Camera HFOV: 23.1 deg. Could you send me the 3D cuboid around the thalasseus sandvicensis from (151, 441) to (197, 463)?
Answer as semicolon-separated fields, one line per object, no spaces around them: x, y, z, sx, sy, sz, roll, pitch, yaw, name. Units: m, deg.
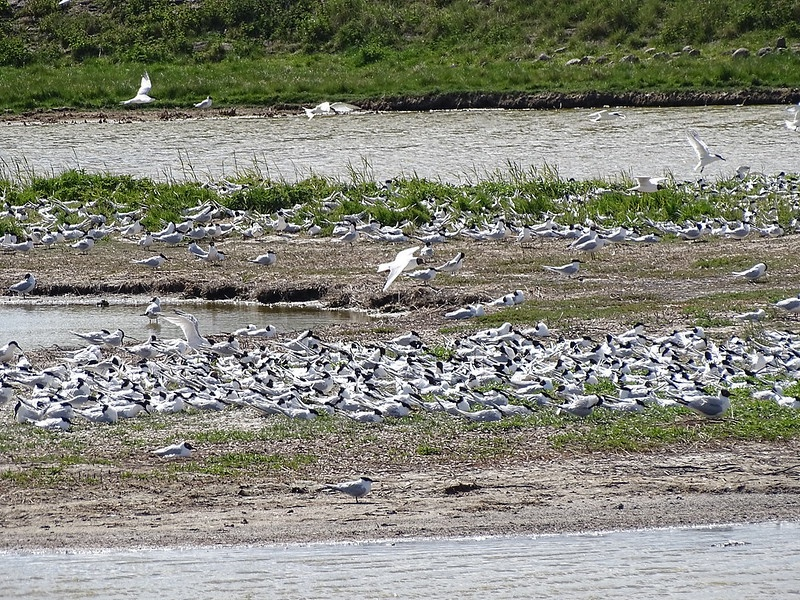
-5.085;3.480;44.272;1.030;0.465;0.367;4;7;-3;thalasseus sandvicensis
